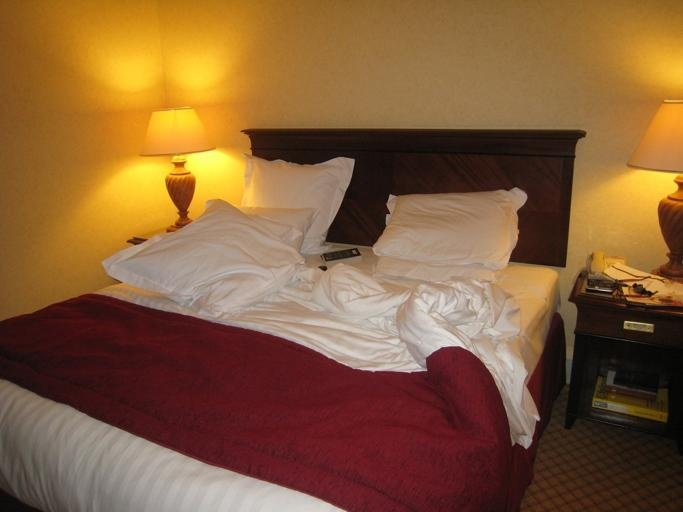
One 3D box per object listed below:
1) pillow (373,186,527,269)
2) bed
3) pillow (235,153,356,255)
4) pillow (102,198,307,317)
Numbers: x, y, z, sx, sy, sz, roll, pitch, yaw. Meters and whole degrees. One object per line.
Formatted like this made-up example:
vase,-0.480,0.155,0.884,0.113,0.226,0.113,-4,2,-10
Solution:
pillow,0.580,-0.146,2.913,0.598,0.181,0.580,10,52,35
bed,-0.132,0.266,2.467,1.626,0.965,1.635,5,17,24
pillow,-0.313,-0.319,3.276,0.660,0.672,0.182,11,-2,13
pillow,-0.704,-0.001,2.771,0.898,0.398,0.548,16,21,22
